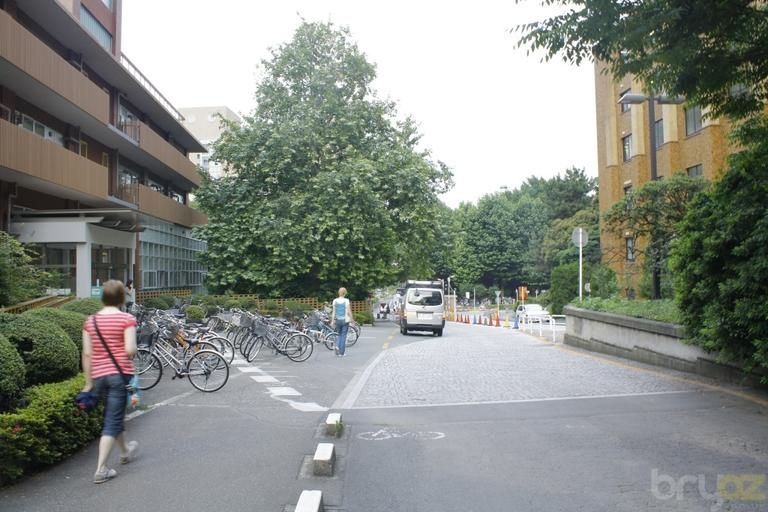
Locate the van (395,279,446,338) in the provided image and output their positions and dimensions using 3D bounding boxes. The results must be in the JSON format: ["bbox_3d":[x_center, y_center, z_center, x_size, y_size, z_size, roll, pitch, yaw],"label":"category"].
[{"bbox_3d":[1.732,2.449,30.189,1.517,1.825,3.034,1,0,0],"label":"van"}]

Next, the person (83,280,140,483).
[{"bbox_3d":[-3.959,1.756,9.354,0.740,2.719,0.770,5,8,43],"label":"person"}]

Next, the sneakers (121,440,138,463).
[{"bbox_3d":[-3.793,2.925,9.742,0.128,0.157,0.357,-10,34,14],"label":"sneakers"}]

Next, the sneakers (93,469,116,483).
[{"bbox_3d":[-3.901,3.068,9.106,0.130,0.143,0.322,2,1,23],"label":"sneakers"}]
